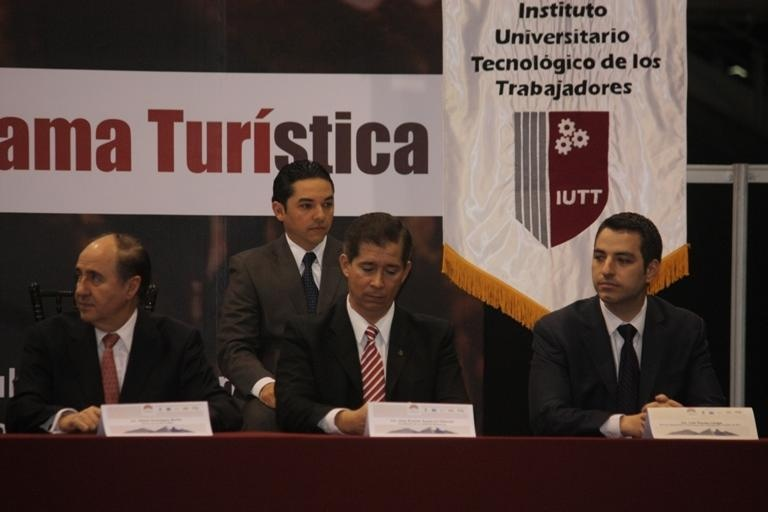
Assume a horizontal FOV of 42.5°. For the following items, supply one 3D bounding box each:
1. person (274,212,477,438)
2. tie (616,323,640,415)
[{"bbox_3d":[-0.088,0.376,5.740,1.065,0.909,0.527,0,0,-24],"label":"person"},{"bbox_3d":[1.472,0.681,5.984,0.129,0.524,0.170,0,0,12],"label":"tie"}]
